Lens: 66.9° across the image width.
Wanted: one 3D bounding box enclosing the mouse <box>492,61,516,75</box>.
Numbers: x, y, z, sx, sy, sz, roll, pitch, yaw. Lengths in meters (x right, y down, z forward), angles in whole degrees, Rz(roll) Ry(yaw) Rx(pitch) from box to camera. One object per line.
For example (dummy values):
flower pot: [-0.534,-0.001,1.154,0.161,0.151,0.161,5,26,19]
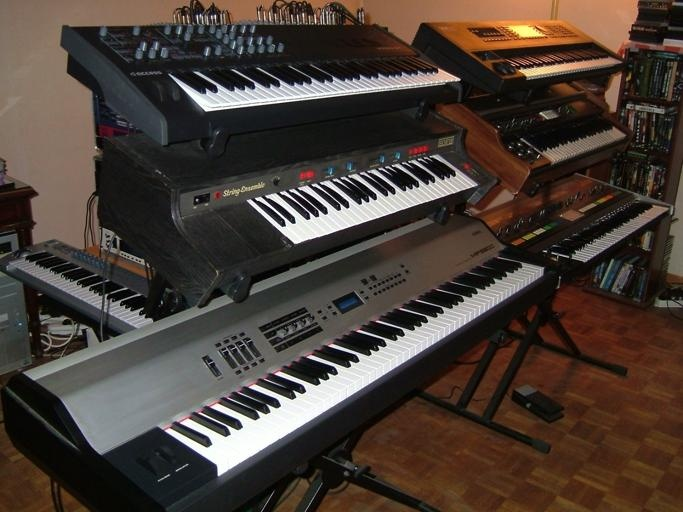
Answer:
mouse: [0.813,-0.949,2.601,0.127,0.028,0.082,-16,47,-33]
